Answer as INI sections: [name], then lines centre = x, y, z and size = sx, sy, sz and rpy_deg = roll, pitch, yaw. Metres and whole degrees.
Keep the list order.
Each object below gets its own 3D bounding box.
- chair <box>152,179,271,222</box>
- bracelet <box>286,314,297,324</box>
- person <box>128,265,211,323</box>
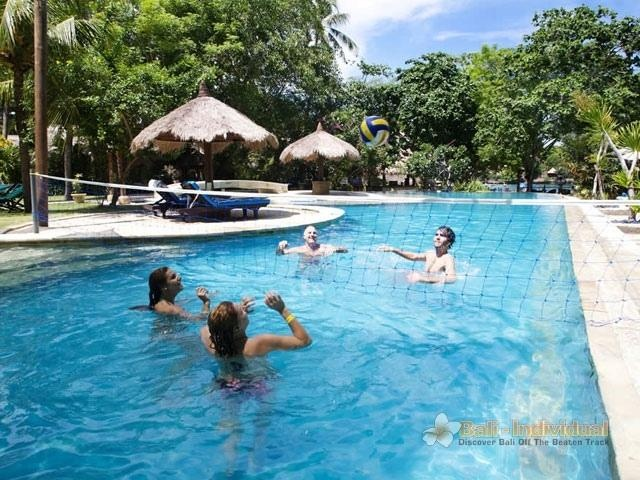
[chair]
centre = -3.241, -1.220, 14.624
size = 2.738, 1.149, 2.526
rpy_deg = -4, 7, -39
[bracelet]
centre = -0.318, 0.837, 5.008
size = 0.117, 0.072, 0.139
rpy_deg = 11, -11, -28
[person]
centre = -2.054, 0.713, 6.433
size = 1.169, 0.669, 0.802
rpy_deg = -8, 17, -1
